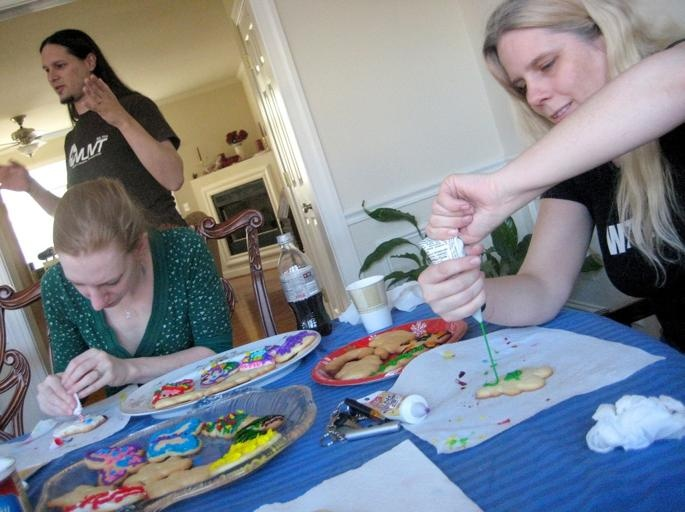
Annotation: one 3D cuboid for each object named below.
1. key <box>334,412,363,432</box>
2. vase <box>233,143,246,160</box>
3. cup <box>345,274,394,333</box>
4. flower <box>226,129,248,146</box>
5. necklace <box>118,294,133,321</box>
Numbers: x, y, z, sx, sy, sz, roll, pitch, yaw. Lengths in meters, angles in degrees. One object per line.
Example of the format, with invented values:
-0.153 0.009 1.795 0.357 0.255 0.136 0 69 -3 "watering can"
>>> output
0.008 0.275 0.758 0.024 0.012 0.029 -1 6 -13 "key"
-1.643 -1.684 7.451 0.167 0.284 0.316 -22 16 -7 "vase"
0.074 0.118 1.201 0.133 0.140 0.135 -22 5 2 "cup"
-1.696 -1.911 7.471 0.337 0.212 0.098 -7 -8 18 "flower"
-0.679 0.170 1.452 0.015 0.062 0.048 -4 23 -15 "necklace"
